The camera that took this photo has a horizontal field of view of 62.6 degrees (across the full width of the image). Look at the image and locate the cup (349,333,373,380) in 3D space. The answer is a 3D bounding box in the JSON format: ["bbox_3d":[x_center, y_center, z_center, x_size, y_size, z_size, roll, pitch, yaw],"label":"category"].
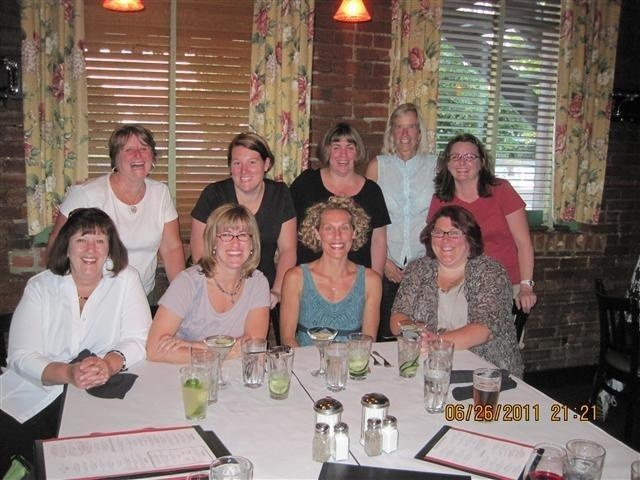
[{"bbox_3d":[0.167,0.543,2.380,0.126,0.175,0.120,1,-5,0],"label":"cup"}]

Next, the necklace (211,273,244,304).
[{"bbox_3d":[-0.478,0.268,2.760,0.165,0.133,0.061,-5,-21,-24],"label":"necklace"}]

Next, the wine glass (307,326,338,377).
[{"bbox_3d":[0.006,0.510,2.380,0.150,0.183,0.150,-4,8,-38],"label":"wine glass"}]

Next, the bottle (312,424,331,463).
[{"bbox_3d":[0.005,0.701,1.827,0.070,0.138,0.040,1,5,5],"label":"bottle"}]

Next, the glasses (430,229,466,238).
[{"bbox_3d":[0.712,-0.031,2.966,0.166,0.047,0.031,2,5,18],"label":"glasses"}]

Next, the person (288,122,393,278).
[{"bbox_3d":[0.119,0.000,3.806,0.781,1.552,0.528,2,21,1],"label":"person"}]

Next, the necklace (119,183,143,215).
[{"bbox_3d":[-1.158,-0.245,3.195,0.159,0.154,0.026,25,-25,-36],"label":"necklace"}]

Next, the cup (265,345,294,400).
[{"bbox_3d":[-0.183,0.577,2.213,0.159,0.186,0.119,1,-5,-5],"label":"cup"}]

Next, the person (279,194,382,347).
[{"bbox_3d":[0.058,0.176,3.016,0.575,0.838,0.391,0,5,-7],"label":"person"}]

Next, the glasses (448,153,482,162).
[{"bbox_3d":[0.959,-0.541,3.511,0.180,0.050,0.053,2,5,17],"label":"glasses"}]

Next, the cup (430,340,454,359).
[{"bbox_3d":[0.515,0.460,2.239,0.083,0.092,0.093,1,1,9],"label":"cup"}]

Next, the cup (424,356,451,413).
[{"bbox_3d":[0.448,0.610,2.169,0.134,0.203,0.134,4,-13,1],"label":"cup"}]

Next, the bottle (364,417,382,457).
[{"bbox_3d":[0.188,0.710,1.882,0.075,0.106,0.076,2,-6,0],"label":"bottle"}]

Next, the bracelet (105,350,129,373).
[{"bbox_3d":[-0.913,0.545,2.364,0.082,0.071,0.097,7,-10,8],"label":"bracelet"}]

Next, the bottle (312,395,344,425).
[{"bbox_3d":[0.032,0.598,1.900,0.091,0.122,0.090,1,13,0],"label":"bottle"}]

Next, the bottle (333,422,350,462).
[{"bbox_3d":[0.086,0.704,1.865,0.047,0.133,0.108,3,5,26],"label":"bottle"}]

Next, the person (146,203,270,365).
[{"bbox_3d":[-0.573,0.244,2.755,0.700,0.823,0.540,5,-3,-35],"label":"person"}]

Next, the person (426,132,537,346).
[{"bbox_3d":[1.116,0.240,3.728,0.782,1.885,0.600,-1,20,22],"label":"person"}]

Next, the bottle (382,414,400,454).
[{"bbox_3d":[0.255,0.695,1.879,0.076,0.132,0.030,-2,6,-32],"label":"bottle"}]

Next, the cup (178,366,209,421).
[{"bbox_3d":[-0.478,0.609,2.042,0.120,0.170,0.117,-1,-8,0],"label":"cup"}]
